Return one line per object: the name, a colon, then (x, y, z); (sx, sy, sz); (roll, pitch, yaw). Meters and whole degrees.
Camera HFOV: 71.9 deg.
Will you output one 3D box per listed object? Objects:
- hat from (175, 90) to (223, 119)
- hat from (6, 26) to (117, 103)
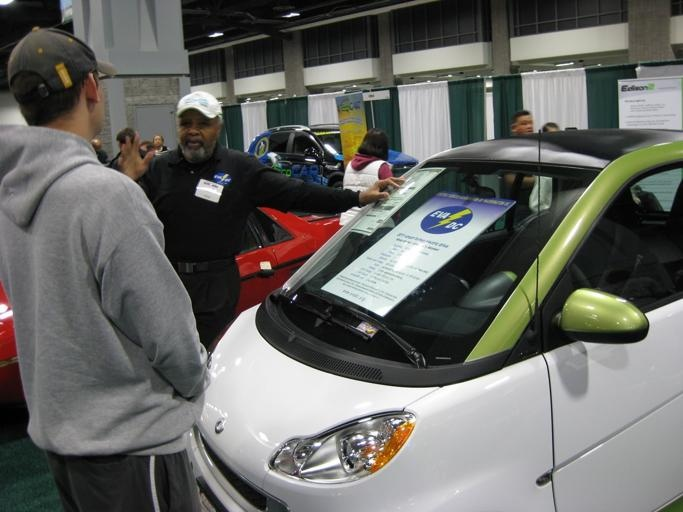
hat: (-0.872, -0.973, 3.049); (0.209, 0.135, 0.273); (-1, 4, 7)
hat: (-0.723, -0.508, 1.282); (0.176, 0.143, 0.251); (16, 41, 43)
